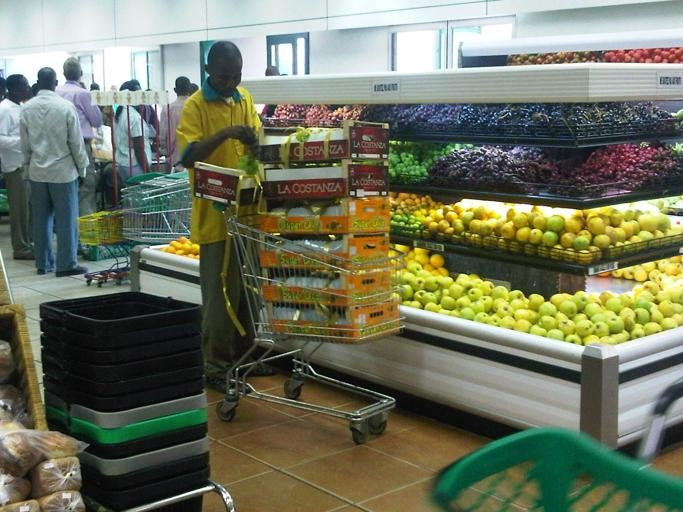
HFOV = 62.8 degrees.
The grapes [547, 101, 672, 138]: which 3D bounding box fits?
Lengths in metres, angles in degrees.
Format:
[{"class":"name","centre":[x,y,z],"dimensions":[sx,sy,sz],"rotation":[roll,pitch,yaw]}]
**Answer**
[{"class":"grapes","centre":[1.751,-0.868,3.575],"dimensions":[0.712,0.159,0.423],"rotation":[-10,19,-32]}]

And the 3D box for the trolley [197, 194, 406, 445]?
[{"class":"trolley","centre":[0.023,0.332,4.008],"dimensions":[1.675,1.779,1.043],"rotation":[4,7,33]}]

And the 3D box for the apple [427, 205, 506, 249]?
[{"class":"apple","centre":[0.879,-0.206,3.910],"dimensions":[0.302,0.136,0.470],"rotation":[-4,7,-28]}]

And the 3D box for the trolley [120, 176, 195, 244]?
[{"class":"trolley","centre":[-2.083,-0.544,6.102],"dimensions":[0.878,0.719,0.516],"rotation":[10,-9,-40]}]

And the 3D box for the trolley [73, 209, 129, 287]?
[{"class":"trolley","centre":[-2.795,-0.119,6.861],"dimensions":[0.716,0.886,0.540],"rotation":[-3,-2,-28]}]

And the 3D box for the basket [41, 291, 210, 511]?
[{"class":"basket","centre":[-0.838,0.545,2.219],"dimensions":[0.527,0.744,0.555],"rotation":[-6,13,-34]}]

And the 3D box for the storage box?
[{"class":"storage box","centre":[-0.085,-0.151,3.185],"dimensions":[0.877,1.196,0.580],"rotation":[2,11,6]}]
